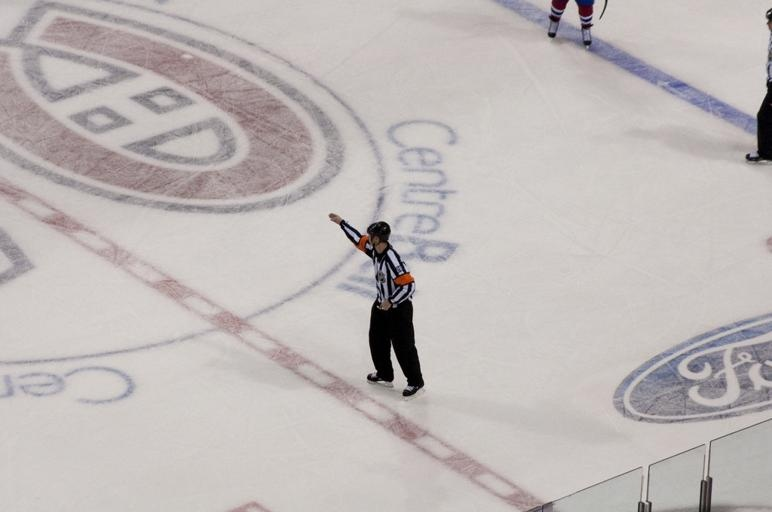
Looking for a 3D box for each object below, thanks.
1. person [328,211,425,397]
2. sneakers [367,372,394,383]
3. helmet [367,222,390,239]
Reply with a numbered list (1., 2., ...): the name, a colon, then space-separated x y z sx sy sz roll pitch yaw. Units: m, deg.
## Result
1. person: -0.042 0.638 14.289 1.044 2.094 0.687 2 3 2
2. sneakers: -0.092 1.484 14.587 0.311 0.086 0.117 8 16 10
3. helmet: -0.089 -0.293 13.964 0.213 0.210 0.152 1 3 -13
